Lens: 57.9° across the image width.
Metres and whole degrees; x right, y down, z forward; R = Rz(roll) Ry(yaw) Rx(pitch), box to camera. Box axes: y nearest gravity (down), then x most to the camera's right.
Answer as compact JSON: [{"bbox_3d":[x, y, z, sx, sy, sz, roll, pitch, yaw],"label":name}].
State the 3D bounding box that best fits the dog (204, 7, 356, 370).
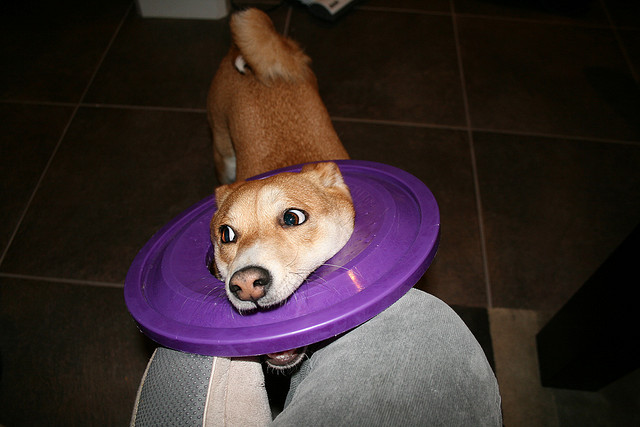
[{"bbox_3d":[-0.269,-0.129,3.733,0.682,1.315,2.596,-13,68,6],"label":"dog"}]
